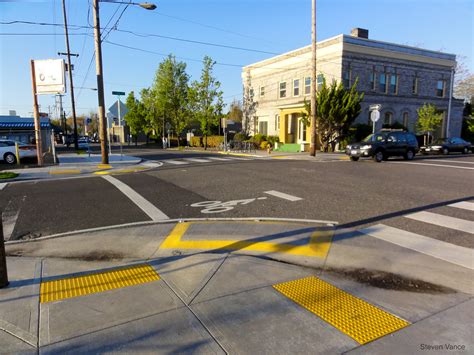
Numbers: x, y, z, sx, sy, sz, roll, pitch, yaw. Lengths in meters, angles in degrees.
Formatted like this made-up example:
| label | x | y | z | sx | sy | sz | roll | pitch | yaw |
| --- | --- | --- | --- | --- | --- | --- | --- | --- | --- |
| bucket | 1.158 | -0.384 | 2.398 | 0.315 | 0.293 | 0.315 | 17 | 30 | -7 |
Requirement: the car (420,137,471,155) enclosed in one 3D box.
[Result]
| label | x | y | z | sx | sy | sz | roll | pitch | yaw |
| --- | --- | --- | --- | --- | --- | --- | --- | --- | --- |
| car | 15.564 | -2.231 | 27.658 | 3.372 | 1.148 | 1.475 | -1 | 1 | -17 |

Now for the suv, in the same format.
| label | x | y | z | sx | sy | sz | roll | pitch | yaw |
| --- | --- | --- | --- | --- | --- | --- | --- | --- | --- |
| suv | 8.431 | -1.752 | 21.307 | 3.832 | 1.791 | 1.215 | -8 | 15 | -26 |
